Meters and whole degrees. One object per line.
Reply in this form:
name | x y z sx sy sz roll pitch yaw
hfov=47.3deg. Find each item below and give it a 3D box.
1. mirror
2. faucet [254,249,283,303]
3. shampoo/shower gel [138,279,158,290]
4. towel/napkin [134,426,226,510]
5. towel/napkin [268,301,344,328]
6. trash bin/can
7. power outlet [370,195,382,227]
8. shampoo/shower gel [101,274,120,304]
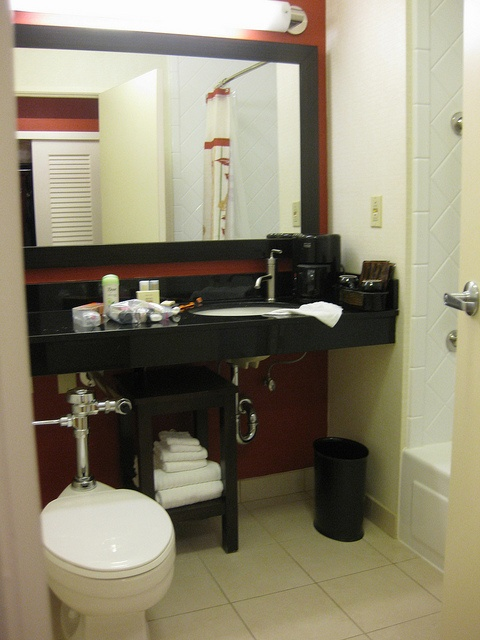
mirror | -0.287 -0.630 1.929 1.087 0.687 0.028 -5 11 -23
faucet | 0.103 -0.158 2.071 0.104 0.192 0.051 -17 25 -35
shampoo/shower gel | -0.302 -0.115 1.809 0.053 0.035 0.031 0 15 0
towel/napkin | -0.194 0.471 1.807 0.239 0.122 0.248 2 1 -21
towel/napkin | 0.226 -0.025 1.770 0.127 0.057 0.127 -3 6 0
trash bin/can | 0.374 0.619 2.006 0.198 0.317 0.243 6 -8 5
power outlet | 0.479 -0.377 1.913 0.015 0.107 0.057 -3 6 -12
shampoo/shower gel | -0.421 -0.100 1.777 0.045 0.090 0.096 -3 6 -17
